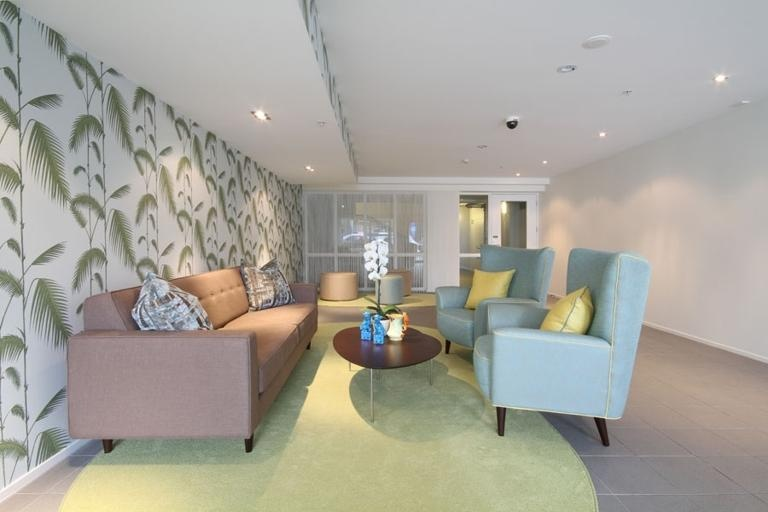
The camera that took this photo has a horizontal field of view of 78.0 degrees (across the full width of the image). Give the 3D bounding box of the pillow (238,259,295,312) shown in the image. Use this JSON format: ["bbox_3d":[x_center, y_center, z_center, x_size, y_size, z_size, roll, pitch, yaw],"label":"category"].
[{"bbox_3d":[-1.350,0.296,5.405,0.162,0.514,0.548,-31,-9,28],"label":"pillow"}]

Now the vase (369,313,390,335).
[{"bbox_3d":[-0.024,0.657,4.585,0.195,0.187,0.152,-1,-5,13],"label":"vase"}]

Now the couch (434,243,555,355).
[{"bbox_3d":[1.200,0.368,5.452,1.249,1.377,1.211,0,-1,-19],"label":"couch"}]

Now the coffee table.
[{"bbox_3d":[0.055,0.971,4.304,0.736,0.353,0.875,-5,11,-23],"label":"coffee table"}]

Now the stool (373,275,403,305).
[{"bbox_3d":[0.099,0.528,7.546,0.486,0.485,0.462,0,4,14],"label":"stool"}]

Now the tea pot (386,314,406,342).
[{"bbox_3d":[0.116,0.676,4.519,0.239,0.231,0.154,5,3,26],"label":"tea pot"}]

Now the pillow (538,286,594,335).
[{"bbox_3d":[1.552,0.512,4.080,0.343,0.519,0.608,15,-1,17],"label":"pillow"}]

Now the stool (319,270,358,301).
[{"bbox_3d":[-0.748,0.488,8.095,0.513,0.355,0.505,0,-1,-24],"label":"stool"}]

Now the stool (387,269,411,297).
[{"bbox_3d":[0.340,0.461,8.407,0.432,0.396,0.425,-2,4,-23],"label":"stool"}]

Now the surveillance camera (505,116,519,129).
[{"bbox_3d":[1.546,-1.622,5.706,0.115,0.104,0.091,19,43,15],"label":"surveillance camera"}]
